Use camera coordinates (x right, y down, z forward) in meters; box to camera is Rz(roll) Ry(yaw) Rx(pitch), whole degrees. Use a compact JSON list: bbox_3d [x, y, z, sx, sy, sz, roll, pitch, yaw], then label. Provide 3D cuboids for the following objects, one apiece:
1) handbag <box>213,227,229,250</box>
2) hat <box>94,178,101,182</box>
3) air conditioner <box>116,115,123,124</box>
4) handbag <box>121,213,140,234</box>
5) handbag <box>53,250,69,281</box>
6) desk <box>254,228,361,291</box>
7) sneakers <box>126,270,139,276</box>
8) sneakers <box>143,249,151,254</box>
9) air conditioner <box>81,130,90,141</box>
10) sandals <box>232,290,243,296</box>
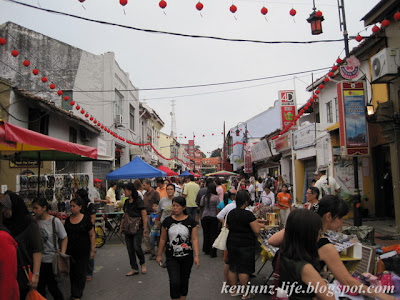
[{"bbox_3d":[0.476,1.930,7.926,0.414,0.504,0.349,-7,-9,31],"label":"handbag"},{"bbox_3d":[-4.012,1.216,14.524,0.245,0.178,0.291,-4,-7,12],"label":"hat"},{"bbox_3d":[-4.958,-1.800,22.454,0.357,0.612,0.492,0,-8,-17],"label":"air conditioner"},{"bbox_3d":[-1.717,1.856,9.164,0.465,0.534,0.282,5,4,6],"label":"handbag"},{"bbox_3d":[-2.615,2.176,6.893,0.421,0.601,0.246,-19,-19,38],"label":"handbag"},{"bbox_3d":[2.023,2.288,7.526,1.318,1.210,2.664,0,-8,-20],"label":"desk"},{"bbox_3d":[-1.662,3.057,9.137,0.310,0.146,0.112,5,-8,-8],"label":"sneakers"},{"bbox_3d":[-1.645,3.172,11.528,0.281,0.105,0.183,18,3,-15],"label":"sneakers"},{"bbox_3d":[-5.960,-0.724,19.281,0.370,0.590,0.554,-3,-7,6],"label":"air conditioner"},{"bbox_3d":[0.765,3.014,7.754,0.280,0.141,0.107,6,-9,-8],"label":"sandals"}]
